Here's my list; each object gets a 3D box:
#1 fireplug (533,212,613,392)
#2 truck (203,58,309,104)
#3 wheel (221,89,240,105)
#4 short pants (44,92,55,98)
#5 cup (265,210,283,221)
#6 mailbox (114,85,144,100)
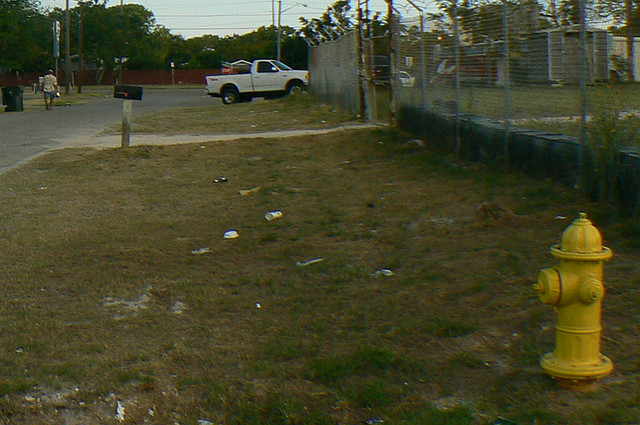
[{"bbox_3d":[2.166,0.754,5.446,0.627,1.474,0.385,-1,11,19],"label":"fireplug"},{"bbox_3d":[-2.573,-5.749,28.204,3.905,1.530,2.050,-4,10,8],"label":"truck"},{"bbox_3d":[-3.796,-5.038,27.827,0.851,0.862,0.325,3,8,28],"label":"wheel"},{"bbox_3d":[-11.185,-4.876,26.579,0.335,0.259,0.351,-1,10,-8],"label":"short pants"},{"bbox_3d":[-0.632,0.041,9.281,0.233,0.153,0.150,-8,-15,-46],"label":"cup"},{"bbox_3d":[-4.012,-2.538,13.548,0.538,0.337,0.584,-6,12,-7],"label":"mailbox"}]
